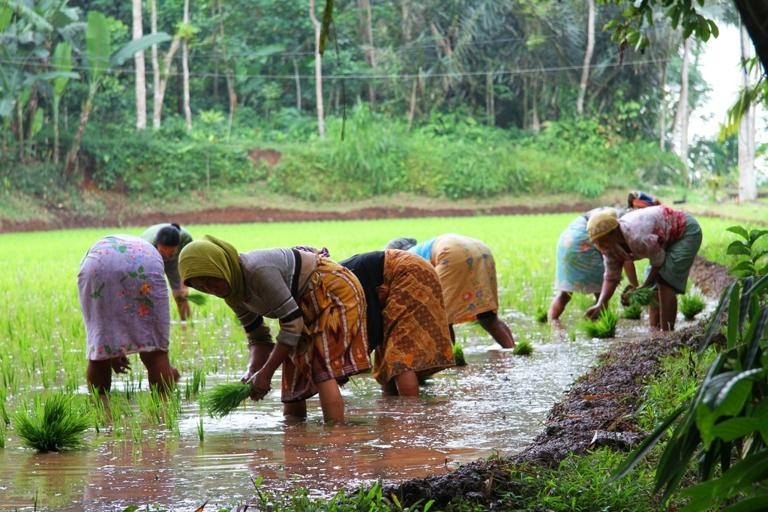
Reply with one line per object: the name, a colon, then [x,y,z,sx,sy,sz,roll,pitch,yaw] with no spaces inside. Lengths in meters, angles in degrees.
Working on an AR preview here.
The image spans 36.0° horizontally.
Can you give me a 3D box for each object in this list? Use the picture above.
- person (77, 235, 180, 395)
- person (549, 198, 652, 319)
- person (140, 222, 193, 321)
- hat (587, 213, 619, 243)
person: [-3.603,0.811,16.818,1.296,2.549,1.121,0,23,-13]
person: [3.523,0.131,19.169,1.125,0.768,2.052,4,-39,-11]
person: [-3.317,0.070,18.628,0.874,0.524,1.716,-10,-33,1]
hat: [3.238,-0.495,17.678,0.449,0.261,0.321,-40,22,-11]
